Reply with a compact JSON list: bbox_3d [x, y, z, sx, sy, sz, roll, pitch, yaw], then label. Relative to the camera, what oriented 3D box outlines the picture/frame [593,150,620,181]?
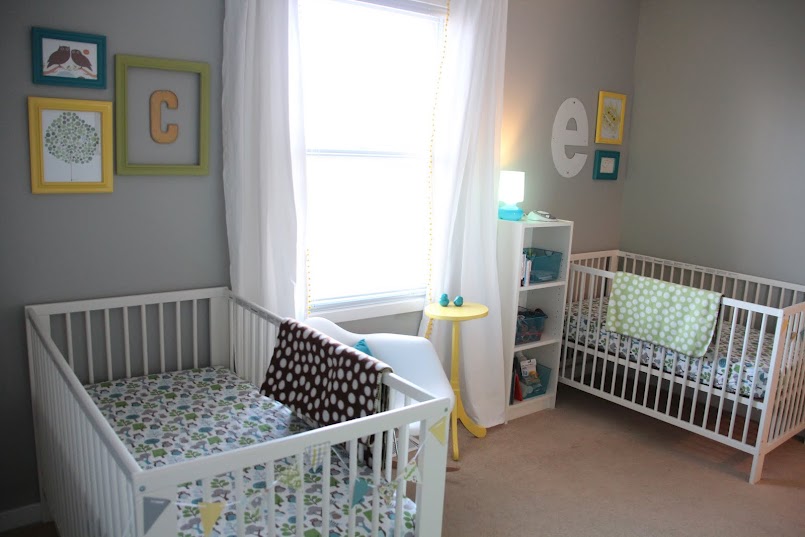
[{"bbox_3d":[1.740,-0.877,4.974,0.344,0.267,0.049,-11,16,-36],"label":"picture/frame"}]

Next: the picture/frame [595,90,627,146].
[{"bbox_3d":[1.729,-1.275,4.880,0.440,0.458,0.030,-6,11,-42],"label":"picture/frame"}]

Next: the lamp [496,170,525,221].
[{"bbox_3d":[0.778,-0.530,4.242,0.207,0.343,0.211,5,15,27],"label":"lamp"}]
